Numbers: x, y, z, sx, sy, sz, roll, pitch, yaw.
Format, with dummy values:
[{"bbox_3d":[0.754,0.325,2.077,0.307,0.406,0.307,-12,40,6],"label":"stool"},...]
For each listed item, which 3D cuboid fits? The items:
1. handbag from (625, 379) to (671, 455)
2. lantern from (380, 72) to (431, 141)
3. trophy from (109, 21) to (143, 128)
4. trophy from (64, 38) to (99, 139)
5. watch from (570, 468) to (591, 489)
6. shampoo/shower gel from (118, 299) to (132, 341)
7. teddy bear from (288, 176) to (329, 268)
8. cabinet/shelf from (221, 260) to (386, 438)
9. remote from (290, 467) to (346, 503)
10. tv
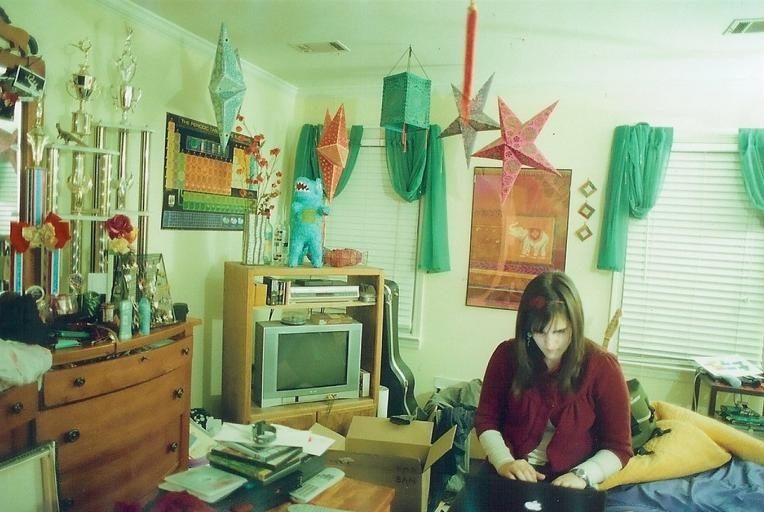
[{"bbox_3d":[1.812,1.109,4.325,0.279,0.451,0.362,5,7,22],"label":"handbag"},{"bbox_3d":[0.207,-1.093,4.567,0.429,0.524,0.419,-5,11,-44],"label":"lantern"},{"bbox_3d":[-1.804,-1.237,4.395,0.197,0.812,0.157,7,9,32],"label":"trophy"},{"bbox_3d":[-2.021,-1.122,4.164,0.182,0.713,0.279,1,1,-25],"label":"trophy"},{"bbox_3d":[1.105,1.212,3.419,0.076,0.099,0.115,-6,9,-38],"label":"watch"},{"bbox_3d":[-1.667,0.381,4.002,0.087,0.311,0.079,-2,-3,12],"label":"shampoo/shower gel"},{"bbox_3d":[-0.582,-0.270,4.740,0.325,0.684,0.307,1,7,-15],"label":"teddy bear"},{"bbox_3d":[-0.621,0.724,4.733,1.424,1.550,0.560,0,8,-16],"label":"cabinet/shelf"},{"bbox_3d":[-0.351,1.264,3.437,0.282,0.106,0.233,5,3,8],"label":"remote"},{"bbox_3d":[-0.656,0.854,4.956,0.918,0.616,0.435,3,-2,-37],"label":"tv"}]
